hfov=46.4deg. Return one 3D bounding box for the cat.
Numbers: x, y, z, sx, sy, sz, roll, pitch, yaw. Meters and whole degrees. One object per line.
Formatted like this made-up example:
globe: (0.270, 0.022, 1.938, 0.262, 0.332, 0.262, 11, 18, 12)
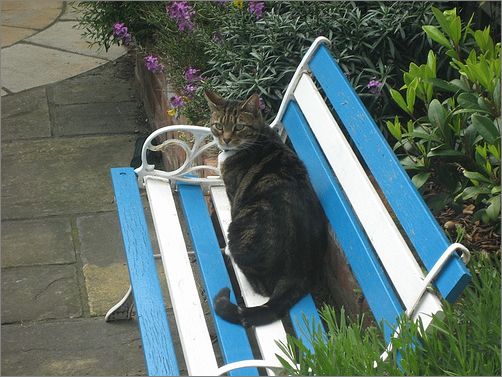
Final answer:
cat: (0.069, 0.164, 3.310, 0.574, 0.595, 1.321, -10, 58, -6)
